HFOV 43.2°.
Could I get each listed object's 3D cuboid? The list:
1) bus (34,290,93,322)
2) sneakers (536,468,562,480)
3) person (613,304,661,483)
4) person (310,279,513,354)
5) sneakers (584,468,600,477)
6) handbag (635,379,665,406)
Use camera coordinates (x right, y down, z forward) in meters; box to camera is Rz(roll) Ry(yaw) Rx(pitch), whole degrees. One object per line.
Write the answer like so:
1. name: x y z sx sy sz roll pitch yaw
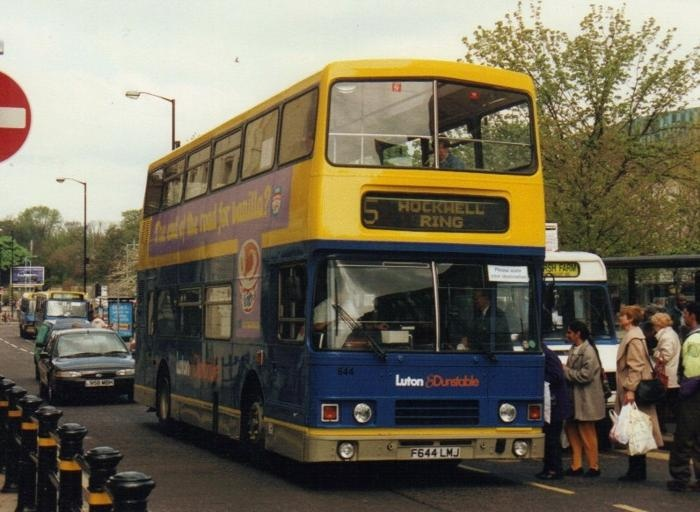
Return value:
1. bus: -18.422 3.204 56.263 2.360 1.933 3.750 2 -7 -25
2. sneakers: 2.754 2.992 12.227 0.133 0.147 0.357 4 -14 -18
3. person: 3.984 1.883 12.262 0.589 2.408 0.586 -2 -6 16
4. person: 0.986 0.812 11.319 2.319 0.806 0.242 2 -6 -18
5. sneakers: 3.394 3.027 12.436 0.234 0.129 0.227 0 -6 3
6. handbag: 4.072 1.868 12.195 0.429 0.294 0.372 3 -7 -39
